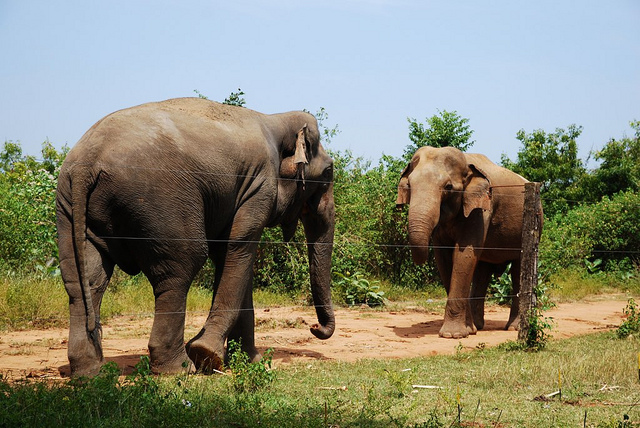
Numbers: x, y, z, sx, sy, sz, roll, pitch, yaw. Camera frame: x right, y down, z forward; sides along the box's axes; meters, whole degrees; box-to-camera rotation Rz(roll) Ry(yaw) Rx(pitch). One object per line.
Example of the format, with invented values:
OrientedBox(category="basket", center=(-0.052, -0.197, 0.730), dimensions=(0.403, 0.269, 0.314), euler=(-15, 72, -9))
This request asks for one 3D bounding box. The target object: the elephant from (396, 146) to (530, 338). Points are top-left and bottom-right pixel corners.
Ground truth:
OrientedBox(category="elephant", center=(2.777, 0.597, 14.777), dimensions=(1.766, 3.606, 3.918), euler=(-4, -9, 42))
